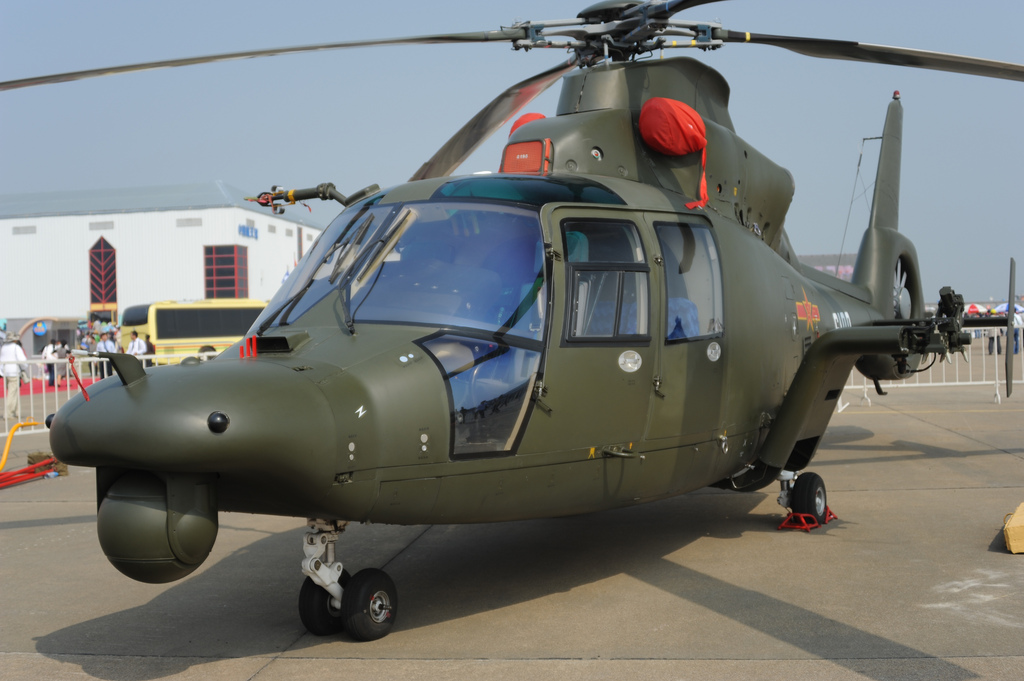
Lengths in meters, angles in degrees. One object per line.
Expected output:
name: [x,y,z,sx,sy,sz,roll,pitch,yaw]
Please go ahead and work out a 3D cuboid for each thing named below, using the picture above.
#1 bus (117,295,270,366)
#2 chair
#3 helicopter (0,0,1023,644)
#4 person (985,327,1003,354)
bus: [-10.617,-0.337,37.790,2.023,2.059,5.390,20,11,28]
chair: [0.170,-0.238,10.794,0.940,1.800,0.451,26,0,29]
helicopter: [-0.058,-0.678,12.546,7.026,3.852,8.810,-3,-4,42]
person: [14.642,-0.032,34.777,0.276,0.712,0.713,-20,19,-38]
